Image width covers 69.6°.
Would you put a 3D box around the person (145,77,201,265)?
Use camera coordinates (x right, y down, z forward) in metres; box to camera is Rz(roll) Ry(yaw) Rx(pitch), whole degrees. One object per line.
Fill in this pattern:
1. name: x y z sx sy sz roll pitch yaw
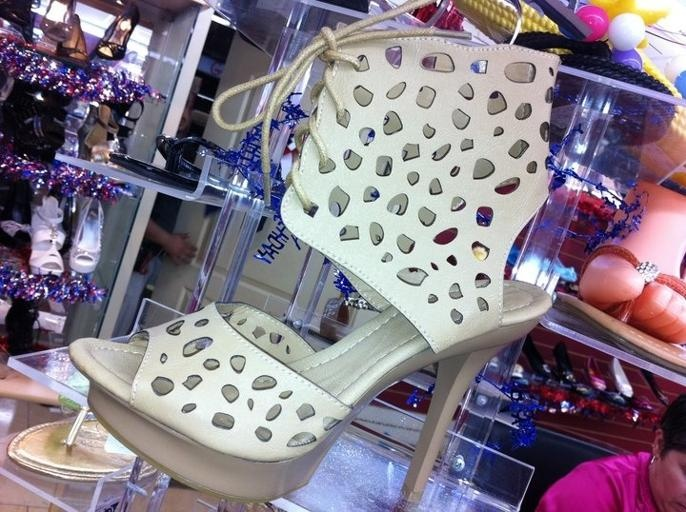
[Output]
1. person: -0.655 -0.365 2.085 0.245 0.726 0.199 20 -28 -31
